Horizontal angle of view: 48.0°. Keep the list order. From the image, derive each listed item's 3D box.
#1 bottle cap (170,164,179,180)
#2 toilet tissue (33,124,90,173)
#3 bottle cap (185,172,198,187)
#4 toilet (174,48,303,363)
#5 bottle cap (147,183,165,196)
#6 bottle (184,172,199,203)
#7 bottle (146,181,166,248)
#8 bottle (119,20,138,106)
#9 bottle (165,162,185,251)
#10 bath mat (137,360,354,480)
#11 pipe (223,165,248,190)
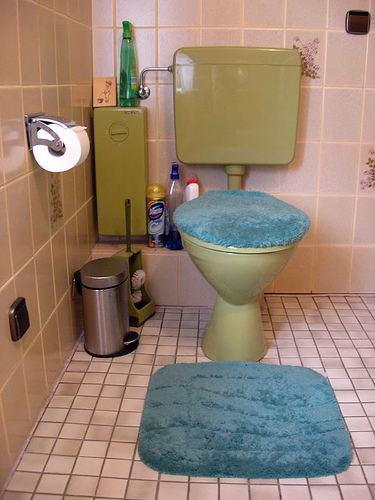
[{"bbox_3d":[-0.043,-0.303,1.615,0.028,0.061,0.063,7,23,19],"label":"bottle cap"},{"bbox_3d":[-0.251,-0.207,0.891,0.096,0.106,0.122,0,17,3],"label":"toilet tissue"},{"bbox_3d":[0.016,-0.277,1.631,0.041,0.070,0.039,-20,28,-40],"label":"bottle cap"},{"bbox_3d":[0.138,-0.173,1.374,0.426,0.906,0.764,4,22,12],"label":"toilet"},{"bbox_3d":[-0.119,-0.228,1.593,0.047,0.029,0.046,-5,11,-41],"label":"bottle cap"},{"bbox_3d":[0.014,-0.242,1.635,0.059,0.103,0.097,0,22,2],"label":"bottle"},{"bbox_3d":[-0.131,-0.134,1.626,0.064,0.249,0.064,10,20,-4],"label":"bottle"},{"bbox_3d":[-0.217,-0.662,1.502,0.070,0.276,0.043,-4,22,-8],"label":"bottle"},{"bbox_3d":[-0.043,-0.168,1.634,0.100,0.342,0.075,0,15,3],"label":"bottle"},{"bbox_3d":[0.140,0.332,1.025,0.409,0.122,0.420,2,16,3],"label":"bath mat"},{"bbox_3d":[0.177,-0.277,1.570,0.087,0.100,0.087,-1,-5,0],"label":"pipe"}]
